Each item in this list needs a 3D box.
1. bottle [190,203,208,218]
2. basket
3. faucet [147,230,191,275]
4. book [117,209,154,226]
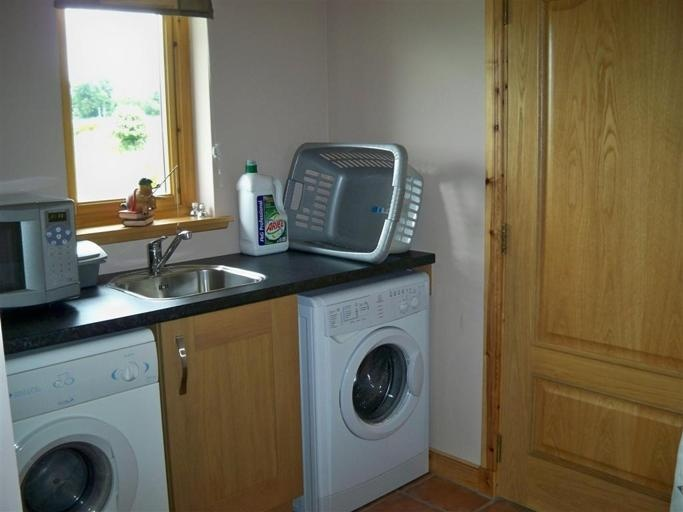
[{"bbox_3d":[-0.702,-0.231,2.779,0.074,0.084,0.083,-6,18,-10],"label":"bottle"},{"bbox_3d":[0.026,-0.272,2.689,0.709,0.530,0.248,11,16,41],"label":"basket"},{"bbox_3d":[-0.750,-0.017,2.413,0.238,0.198,0.108,8,14,31],"label":"faucet"},{"bbox_3d":[-0.944,-0.193,2.570,0.084,0.060,0.116,7,11,34],"label":"book"}]
